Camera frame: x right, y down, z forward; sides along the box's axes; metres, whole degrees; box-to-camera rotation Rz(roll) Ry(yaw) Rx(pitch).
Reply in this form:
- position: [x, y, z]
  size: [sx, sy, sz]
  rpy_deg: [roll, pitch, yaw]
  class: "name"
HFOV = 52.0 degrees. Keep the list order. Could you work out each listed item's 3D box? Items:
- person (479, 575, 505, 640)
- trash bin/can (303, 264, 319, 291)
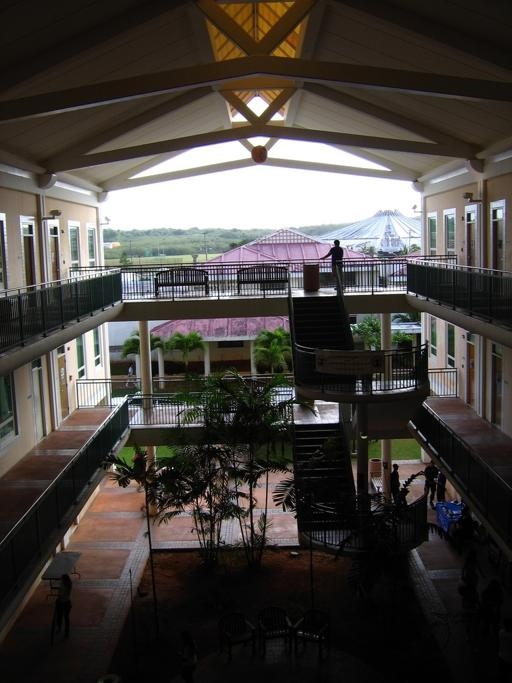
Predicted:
- position: [3.586, 4.153, 8.014]
  size: [0.371, 0.952, 0.490]
  rpy_deg: [-8, -1, 19]
  class: "person"
- position: [1.835, -2.173, 17.779]
  size: [0.580, 1.016, 0.642]
  rpy_deg: [-8, -1, 14]
  class: "trash bin/can"
